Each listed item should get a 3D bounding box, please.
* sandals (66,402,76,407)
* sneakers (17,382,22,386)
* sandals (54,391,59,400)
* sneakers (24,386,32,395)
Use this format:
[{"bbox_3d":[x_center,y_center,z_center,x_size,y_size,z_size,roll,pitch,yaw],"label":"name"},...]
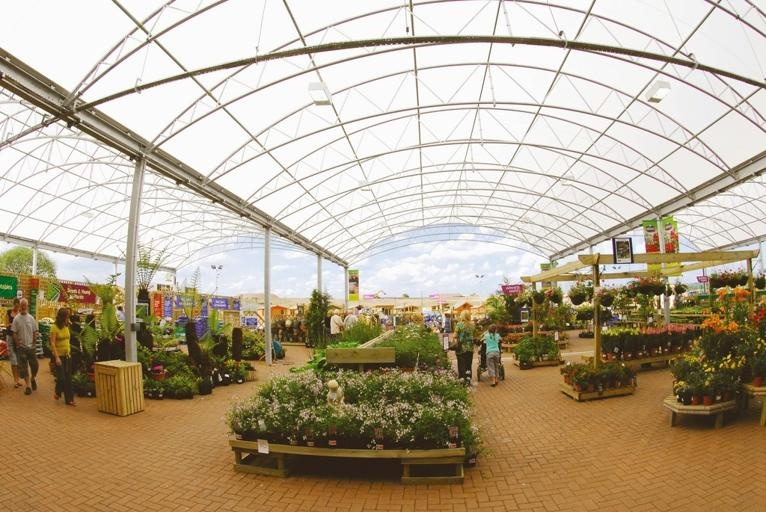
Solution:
[{"bbox_3d":[-9.078,4.319,14.869,0.304,0.121,0.100,-2,-2,6],"label":"sandals"},{"bbox_3d":[-11.402,4.023,15.955,0.117,0.070,0.116,-6,-9,25],"label":"sneakers"},{"bbox_3d":[-9.645,4.159,15.094,0.125,0.246,0.170,3,5,-13],"label":"sandals"},{"bbox_3d":[-10.796,4.113,15.491,0.169,0.158,0.243,5,-17,-27],"label":"sneakers"}]
